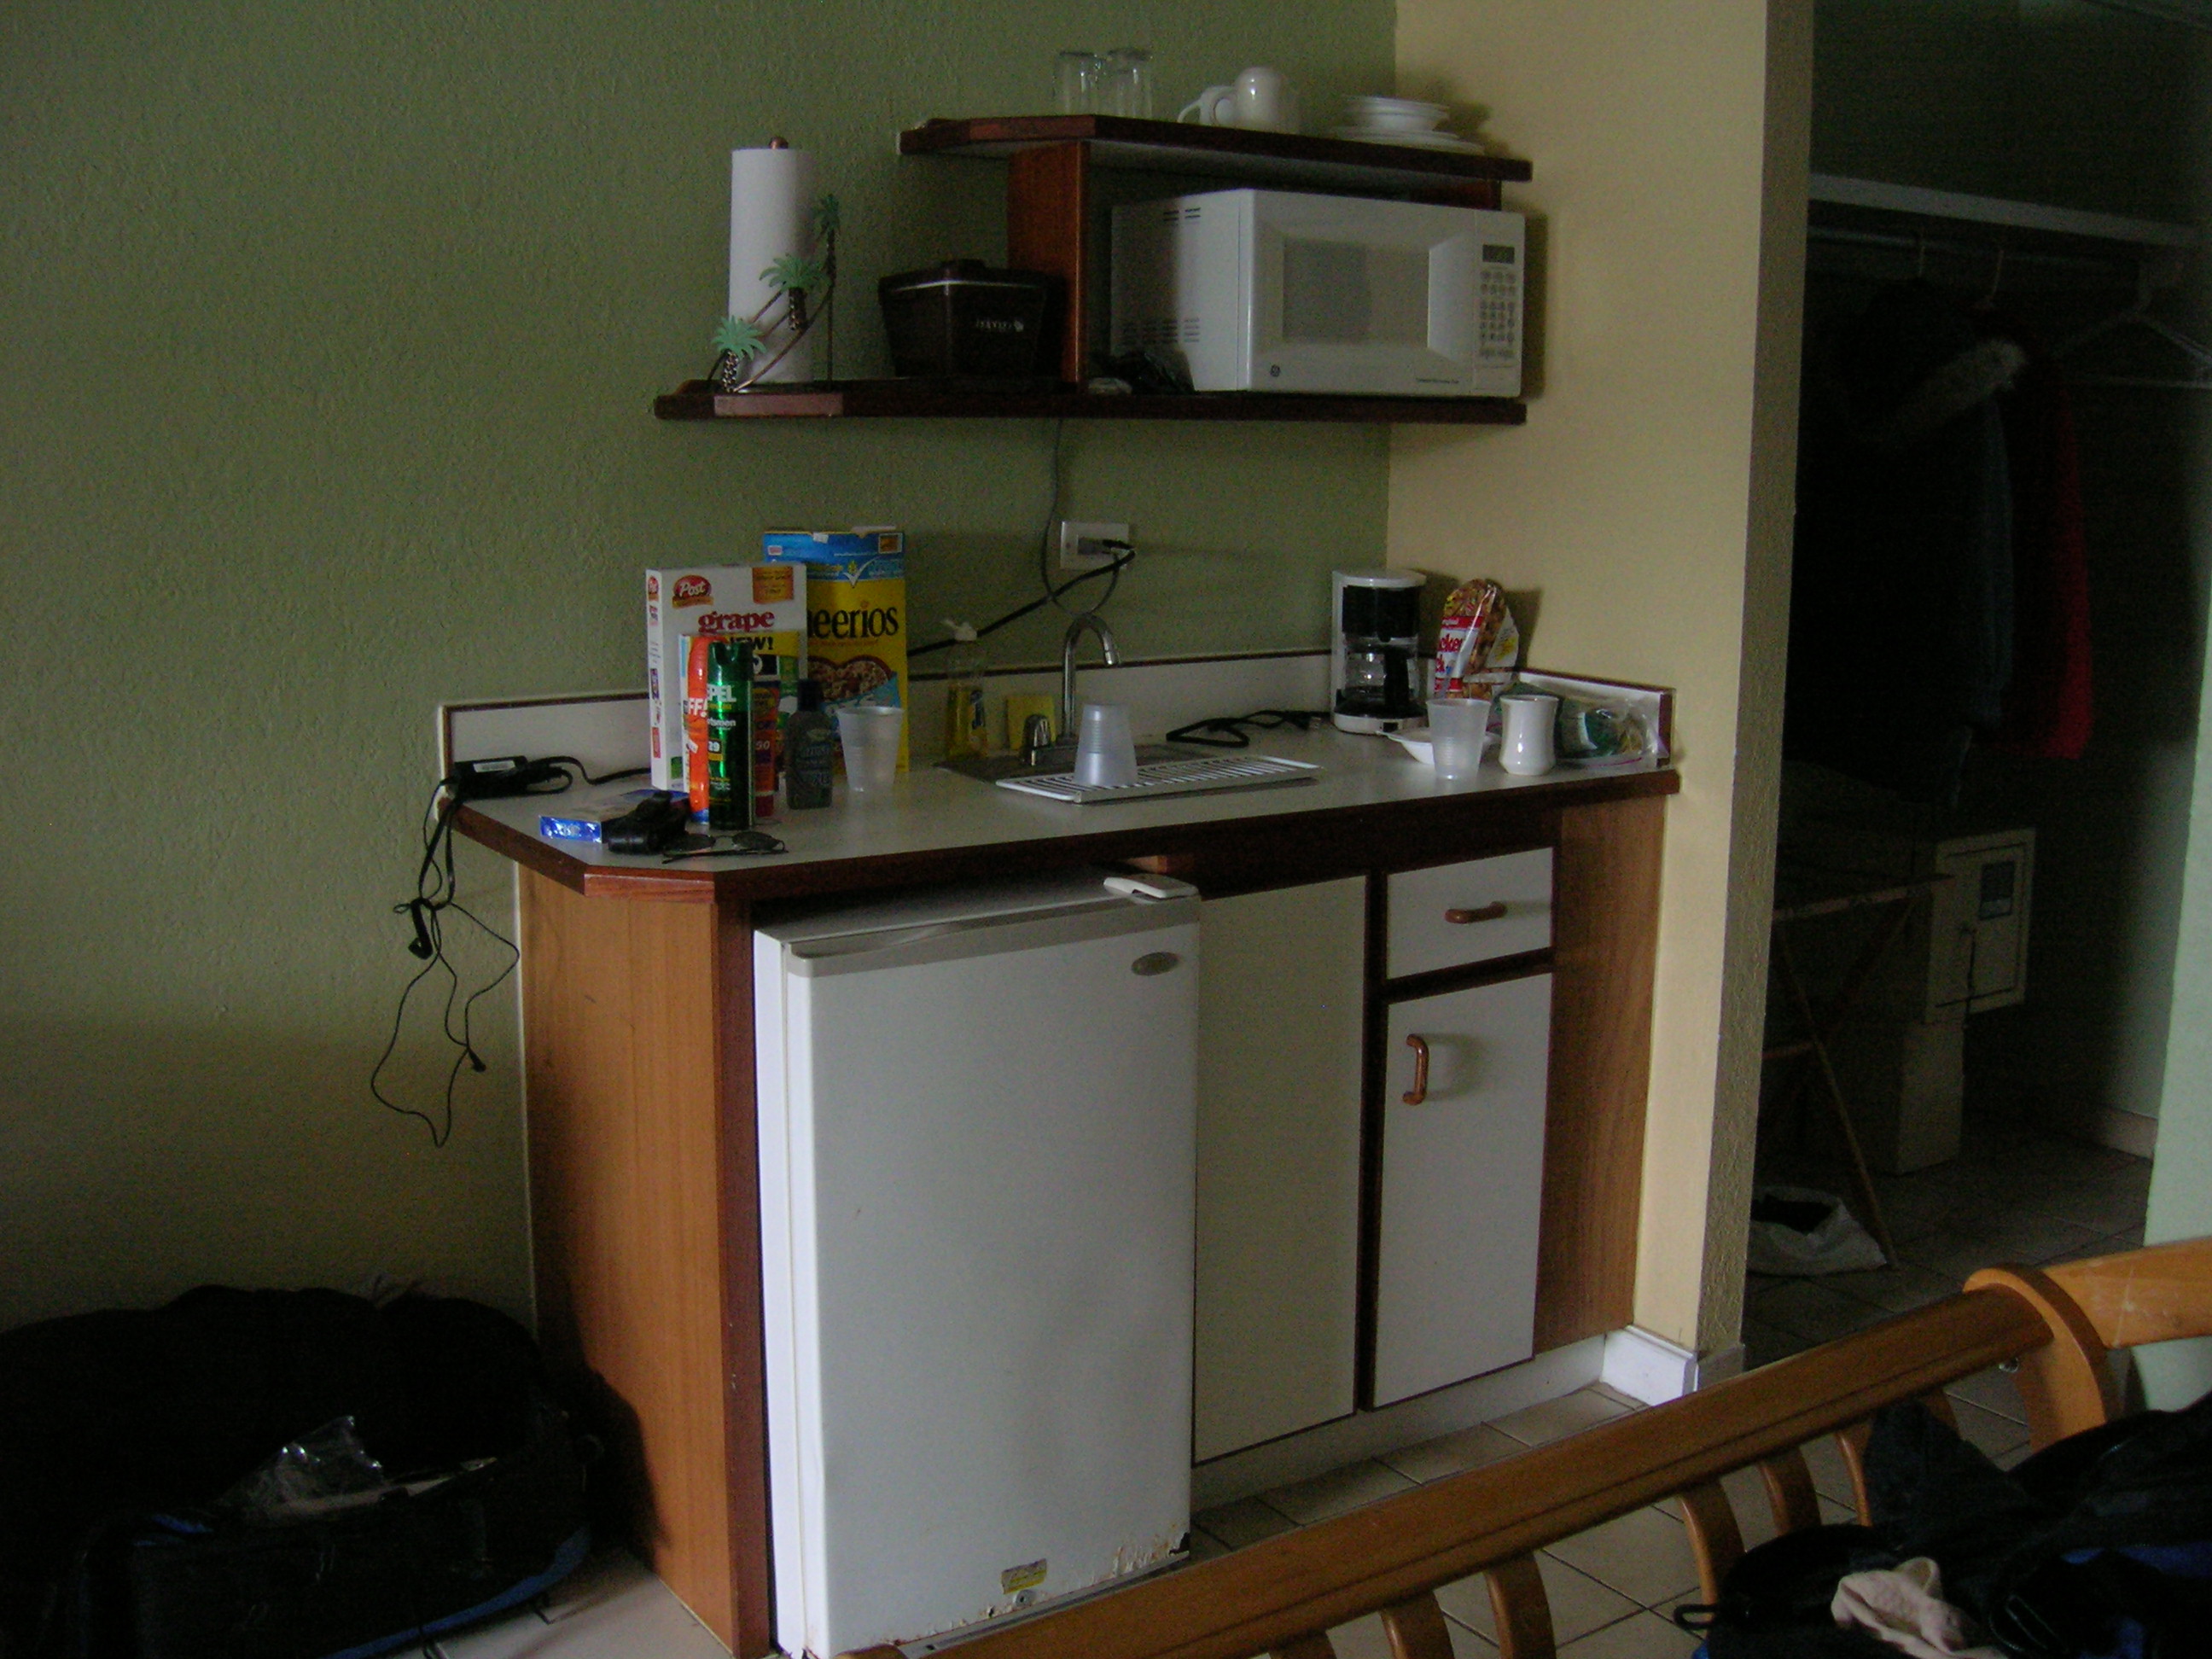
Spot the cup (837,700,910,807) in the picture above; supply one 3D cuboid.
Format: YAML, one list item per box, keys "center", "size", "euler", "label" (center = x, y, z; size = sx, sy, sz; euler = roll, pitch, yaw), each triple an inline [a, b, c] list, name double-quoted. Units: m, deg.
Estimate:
- center: [-0.362, -0.131, 3.259]
  size: [0.132, 0.175, 0.135]
  euler: [1, 0, 0]
  label: "cup"

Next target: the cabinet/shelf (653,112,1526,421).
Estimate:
- center: [0.042, -0.940, 3.472]
  size: [1.564, 0.521, 0.376]
  euler: [-8, 12, -28]
  label: "cabinet/shelf"

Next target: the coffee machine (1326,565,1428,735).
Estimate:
- center: [0.516, -0.333, 3.820]
  size: [0.164, 0.292, 0.120]
  euler: [0, 11, 7]
  label: "coffee machine"

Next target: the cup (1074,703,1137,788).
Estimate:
- center: [0.031, -0.140, 3.294]
  size: [0.114, 0.127, 0.109]
  euler: [1, 11, 0]
  label: "cup"

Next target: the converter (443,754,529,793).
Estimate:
- center: [-0.961, -0.083, 3.182]
  size: [0.144, 0.057, 0.078]
  euler: [-5, 12, -17]
  label: "converter"

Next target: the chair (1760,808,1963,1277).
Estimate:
- center: [1.615, 0.369, 4.196]
  size: [0.558, 0.880, 0.278]
  euler: [-6, 11, -21]
  label: "chair"

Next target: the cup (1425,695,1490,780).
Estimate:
- center: [0.591, -0.159, 3.376]
  size: [0.114, 0.139, 0.116]
  euler: [1, 4, 0]
  label: "cup"

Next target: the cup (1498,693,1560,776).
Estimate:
- center: [0.722, -0.156, 3.525]
  size: [0.108, 0.172, 0.146]
  euler: [1, 7, 0]
  label: "cup"

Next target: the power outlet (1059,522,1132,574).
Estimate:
- center: [-0.015, -0.519, 3.699]
  size: [0.165, 0.099, 0.030]
  euler: [-9, 13, -33]
  label: "power outlet"

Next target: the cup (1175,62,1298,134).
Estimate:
- center: [0.247, -1.255, 3.562]
  size: [0.205, 0.153, 0.132]
  euler: [-2, 19, 22]
  label: "cup"

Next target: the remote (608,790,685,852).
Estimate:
- center: [-0.654, -0.011, 2.883]
  size: [0.119, 0.059, 0.170]
  euler: [-4, 11, -10]
  label: "remote"

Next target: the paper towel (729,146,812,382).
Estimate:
- center: [-0.527, -0.893, 3.197]
  size: [0.129, 0.364, 0.099]
  euler: [-3, 11, -10]
  label: "paper towel"
